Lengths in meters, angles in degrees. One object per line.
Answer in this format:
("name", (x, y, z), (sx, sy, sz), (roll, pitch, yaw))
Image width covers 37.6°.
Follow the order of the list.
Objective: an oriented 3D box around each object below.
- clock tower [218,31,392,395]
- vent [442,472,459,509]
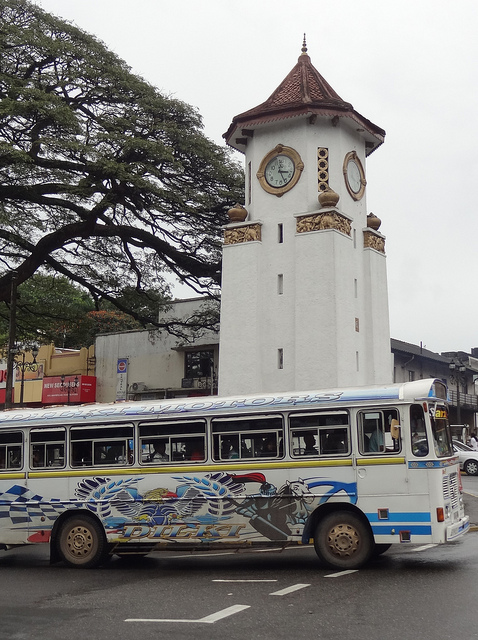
("clock tower", (2.296, -2.821, 27.308), (6.331, 11.251, 3.747), (-3, -12, 8))
("vent", (3.103, 2.533, 10.342), (0.119, 0.498, 1.246), (-6, -12, 20))
